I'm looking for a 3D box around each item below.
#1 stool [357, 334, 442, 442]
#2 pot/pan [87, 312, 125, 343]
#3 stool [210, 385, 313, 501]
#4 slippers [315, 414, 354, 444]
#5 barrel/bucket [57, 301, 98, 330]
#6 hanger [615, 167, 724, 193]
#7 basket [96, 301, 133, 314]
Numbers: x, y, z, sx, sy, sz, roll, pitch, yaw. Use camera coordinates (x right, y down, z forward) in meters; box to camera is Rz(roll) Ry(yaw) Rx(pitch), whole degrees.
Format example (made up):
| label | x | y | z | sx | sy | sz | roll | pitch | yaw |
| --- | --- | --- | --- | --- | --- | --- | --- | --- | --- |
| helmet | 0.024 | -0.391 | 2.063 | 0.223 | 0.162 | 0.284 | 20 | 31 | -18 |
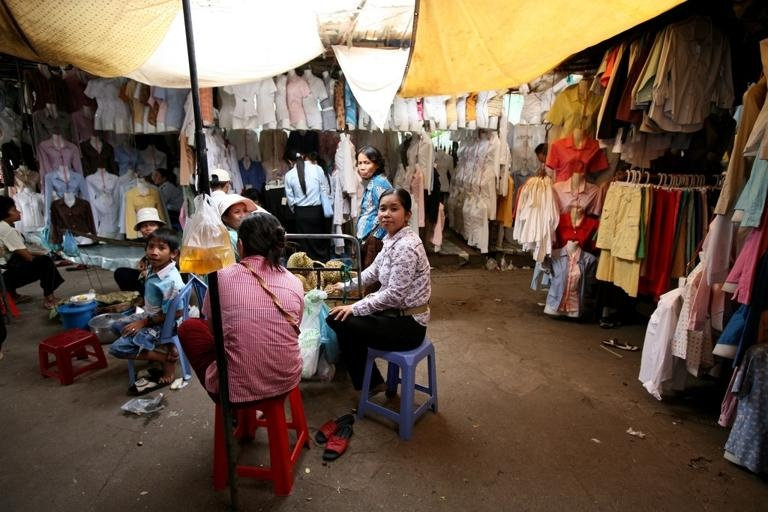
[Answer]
| label | x | y | z | sx | sy | sz | roll | pitch | yaw |
| --- | --- | --- | --- | --- | --- | --- | --- | --- | --- |
| stool | 0.099 | 1.074 | 4.511 | 0.661 | 0.817 | 0.683 | 8 | 14 | 38 |
| pot/pan | -2.916 | 0.708 | 5.388 | 0.374 | 0.317 | 0.378 | 3 | 6 | 12 |
| stool | -0.826 | 1.373 | 3.896 | 0.746 | 0.716 | 0.835 | 0 | -6 | 3 |
| slippers | -0.402 | 1.400 | 4.181 | 0.128 | 0.098 | 0.359 | 10 | 16 | 36 |
| barrel/bucket | -3.319 | 0.596 | 5.580 | 0.333 | 0.332 | 0.326 | 2 | 9 | 0 |
| hanger | 3.007 | -0.854 | 5.414 | 1.013 | 0.219 | 0.580 | 4 | 9 | 25 |
| basket | -2.957 | 0.557 | 5.585 | 0.194 | 0.082 | 0.190 | -11 | -7 | 20 |
